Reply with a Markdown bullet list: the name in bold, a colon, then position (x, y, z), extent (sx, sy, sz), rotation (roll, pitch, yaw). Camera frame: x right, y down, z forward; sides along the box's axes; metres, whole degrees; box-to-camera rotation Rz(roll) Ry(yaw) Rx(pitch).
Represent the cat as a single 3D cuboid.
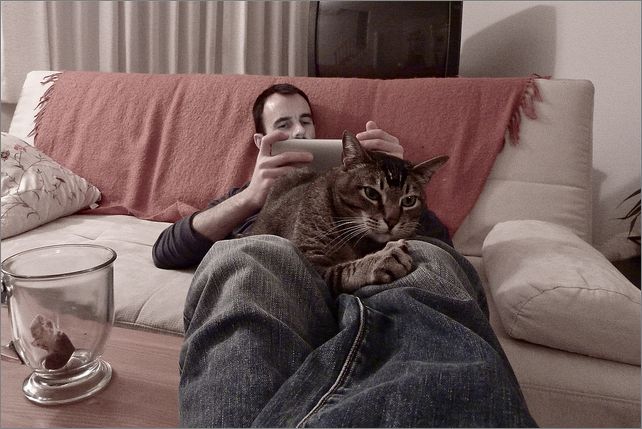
- **cat**: position (0.057, 0.025, 1.322), extent (0.343, 0.263, 0.526), rotation (5, -8, -29)
